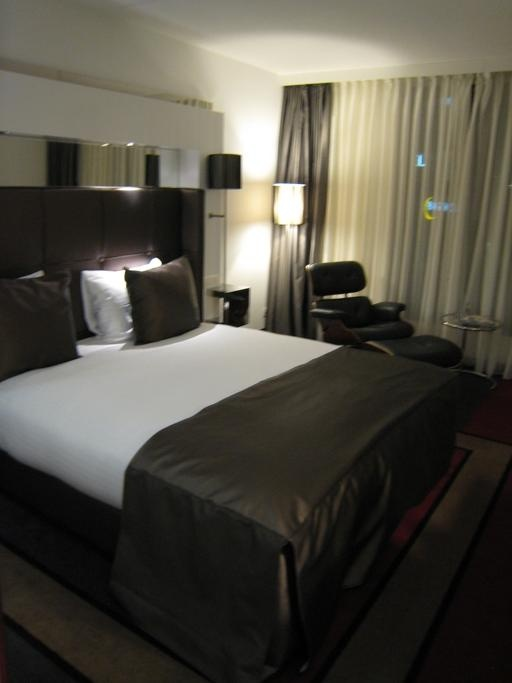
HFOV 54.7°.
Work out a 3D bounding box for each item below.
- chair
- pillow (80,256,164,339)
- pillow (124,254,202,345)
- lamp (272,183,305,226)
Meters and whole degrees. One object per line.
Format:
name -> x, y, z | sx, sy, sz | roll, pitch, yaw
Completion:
chair -> 1.079, -0.208, 4.308 | 0.876, 0.926, 1.264 | -10, 14, -29
pillow -> -0.838, -0.241, 2.981 | 0.146, 0.415, 0.381 | -6, 2, 45
pillow -> -0.611, -0.270, 3.252 | 0.217, 0.503, 0.626 | 8, 17, 27
lamp -> 0.348, -1.427, 5.075 | 0.341, 0.414, 0.362 | 6, 27, 16
